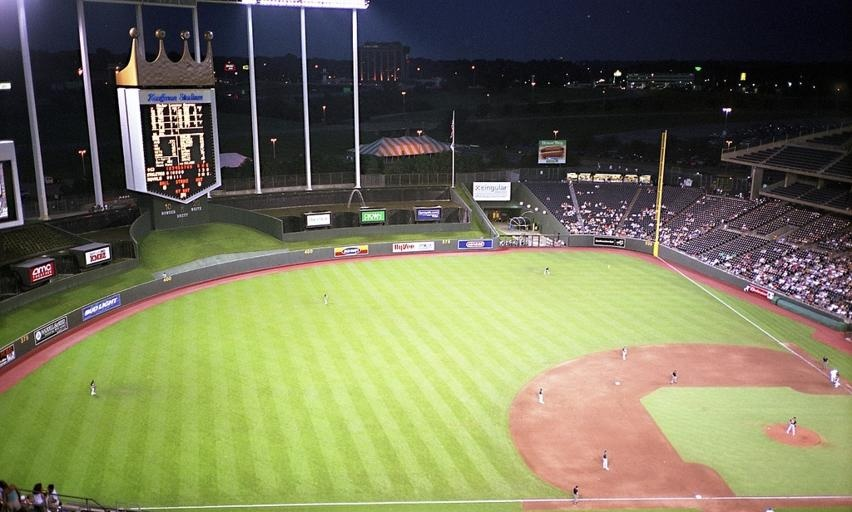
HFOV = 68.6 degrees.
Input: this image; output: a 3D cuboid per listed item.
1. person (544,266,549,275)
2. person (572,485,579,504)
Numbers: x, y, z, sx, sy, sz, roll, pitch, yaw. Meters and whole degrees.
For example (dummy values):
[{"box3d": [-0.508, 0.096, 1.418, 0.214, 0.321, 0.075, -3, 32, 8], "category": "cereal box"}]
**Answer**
[{"box3d": [11.313, 1.416, 59.272, 0.390, 0.864, 0.381, -2, -13, 6], "category": "person"}, {"box3d": [8.380, 13.475, 35.376, 0.326, 0.744, 0.875, 2, 13, 11], "category": "person"}]
